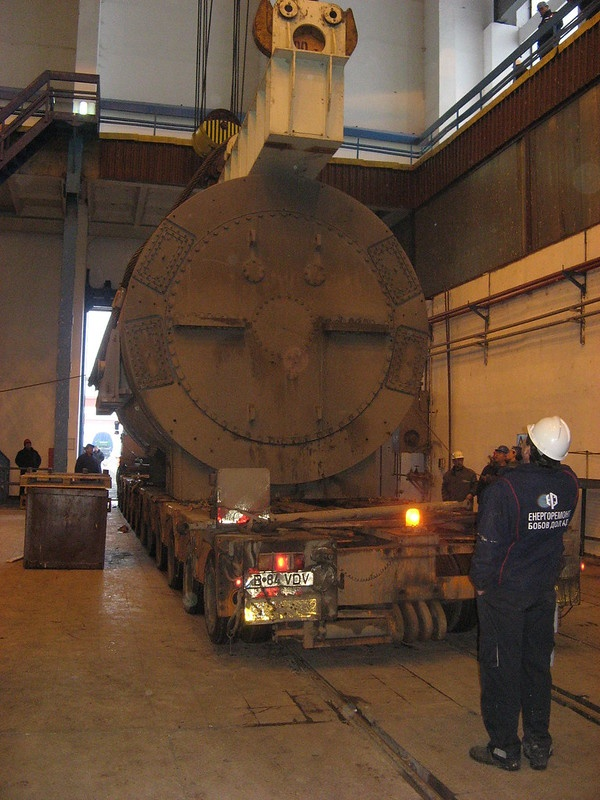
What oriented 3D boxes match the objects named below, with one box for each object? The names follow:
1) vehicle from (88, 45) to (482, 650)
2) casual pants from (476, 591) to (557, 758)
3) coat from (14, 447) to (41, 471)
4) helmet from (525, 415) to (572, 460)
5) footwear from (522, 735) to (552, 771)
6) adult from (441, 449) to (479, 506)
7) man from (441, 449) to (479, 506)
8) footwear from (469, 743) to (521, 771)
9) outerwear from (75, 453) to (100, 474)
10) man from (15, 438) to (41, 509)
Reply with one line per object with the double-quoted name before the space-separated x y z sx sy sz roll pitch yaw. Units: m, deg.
"vehicle" -0.194 -0.023 7.706 2.090 2.939 5.811 1 1 -12
"casual pants" 1.209 1.487 4.515 0.444 0.867 0.315 1 -2 2
"coat" -7.098 1.553 21.230 0.314 0.648 0.595 -4 -3 39
"helmet" 1.430 0.242 4.743 0.200 0.158 0.268 25 34 7
"footwear" 1.277 1.900 4.396 0.069 0.106 0.226 0 0 7
"adult" 2.342 1.380 12.102 0.522 1.349 0.376 3 -24 2
"man" 2.374 1.321 12.256 0.511 1.327 0.383 -1 32 13
"footwear" 1.043 1.918 4.406 0.112 0.134 0.257 0 9 -40
"outerwear" -4.035 1.214 15.505 0.438 0.487 0.242 1 0 -33
"man" -7.141 1.585 21.545 0.673 0.591 1.953 8 -30 -11
